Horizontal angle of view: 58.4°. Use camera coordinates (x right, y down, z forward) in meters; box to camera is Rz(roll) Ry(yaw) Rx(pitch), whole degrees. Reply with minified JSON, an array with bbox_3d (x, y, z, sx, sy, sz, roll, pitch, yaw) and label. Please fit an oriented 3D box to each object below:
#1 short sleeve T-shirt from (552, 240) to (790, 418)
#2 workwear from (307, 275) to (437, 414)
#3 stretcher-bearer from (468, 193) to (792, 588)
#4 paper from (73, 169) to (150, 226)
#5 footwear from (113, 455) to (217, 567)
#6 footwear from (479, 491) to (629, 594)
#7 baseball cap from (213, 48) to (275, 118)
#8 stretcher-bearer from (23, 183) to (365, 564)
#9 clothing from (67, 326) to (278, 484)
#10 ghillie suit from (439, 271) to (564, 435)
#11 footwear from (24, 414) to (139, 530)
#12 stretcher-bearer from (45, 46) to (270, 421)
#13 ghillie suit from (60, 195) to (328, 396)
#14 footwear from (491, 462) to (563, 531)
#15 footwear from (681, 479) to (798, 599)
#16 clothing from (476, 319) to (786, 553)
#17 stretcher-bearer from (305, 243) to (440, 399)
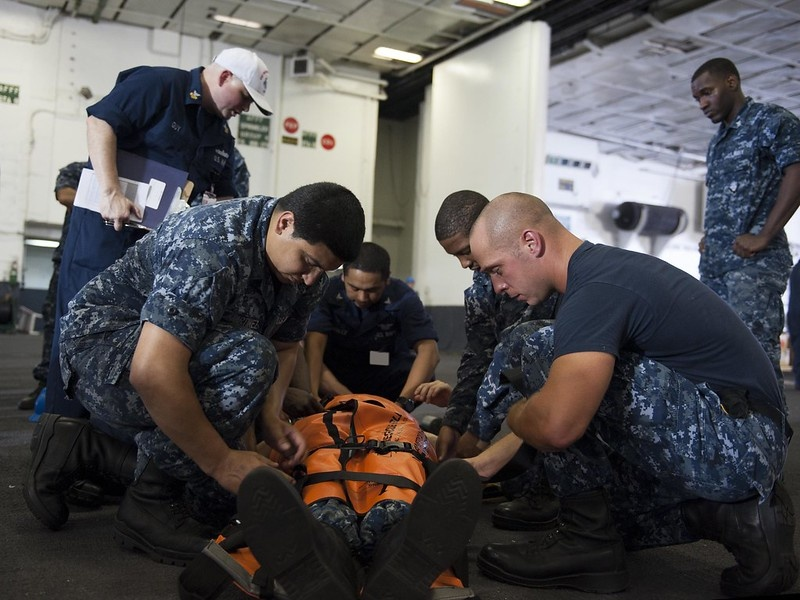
[{"bbox_3d":[0.762,0.079,1.943,0.665,0.408,0.322,8,4,9],"label":"short sleeve T-shirt"},{"bbox_3d":[-0.134,0.147,3.505,0.585,0.650,0.655,3,-41,-3],"label":"workwear"},{"bbox_3d":[0.660,0.304,2.462,1.167,1.237,0.966,2,-3,24],"label":"stretcher-bearer"},{"bbox_3d":[-1.111,-0.356,2.657,0.247,0.211,0.055,14,0,-12],"label":"paper"},{"bbox_3d":[-0.670,0.605,2.110,0.307,0.284,0.125,15,7,6],"label":"footwear"},{"bbox_3d":[0.424,0.733,2.219,0.521,0.347,0.195,7,-14,17],"label":"footwear"},{"bbox_3d":[-0.595,-0.887,2.957,0.309,0.171,0.196,36,4,-9],"label":"baseball cap"},{"bbox_3d":[-0.690,0.215,2.296,1.029,1.127,0.752,9,3,30],"label":"stretcher-bearer"},{"bbox_3d":[-0.695,0.295,2.098,0.661,0.467,0.384,10,5,33],"label":"clothing"},{"bbox_3d":[0.366,0.211,2.820,0.347,0.677,0.289,21,-26,0],"label":"ghillie suit"},{"bbox_3d":[-1.001,0.541,2.255,0.256,0.354,0.122,-28,-9,2],"label":"footwear"},{"bbox_3d":[-1.020,-0.198,2.945,0.688,1.666,0.637,14,1,-6],"label":"stretcher-bearer"},{"bbox_3d":[-0.663,0.000,2.356,0.743,0.519,0.973,-5,2,12],"label":"ghillie suit"},{"bbox_3d":[0.467,0.705,2.515,0.358,0.204,0.146,16,-15,-38],"label":"footwear"},{"bbox_3d":[0.949,0.664,1.998,0.192,0.311,0.247,-18,-3,-31],"label":"footwear"},{"bbox_3d":[0.583,0.395,2.224,1.136,0.679,0.736,15,-18,-32],"label":"clothing"},{"bbox_3d":[-0.108,0.051,3.546,0.665,0.770,0.767,0,44,-7],"label":"stretcher-bearer"}]
